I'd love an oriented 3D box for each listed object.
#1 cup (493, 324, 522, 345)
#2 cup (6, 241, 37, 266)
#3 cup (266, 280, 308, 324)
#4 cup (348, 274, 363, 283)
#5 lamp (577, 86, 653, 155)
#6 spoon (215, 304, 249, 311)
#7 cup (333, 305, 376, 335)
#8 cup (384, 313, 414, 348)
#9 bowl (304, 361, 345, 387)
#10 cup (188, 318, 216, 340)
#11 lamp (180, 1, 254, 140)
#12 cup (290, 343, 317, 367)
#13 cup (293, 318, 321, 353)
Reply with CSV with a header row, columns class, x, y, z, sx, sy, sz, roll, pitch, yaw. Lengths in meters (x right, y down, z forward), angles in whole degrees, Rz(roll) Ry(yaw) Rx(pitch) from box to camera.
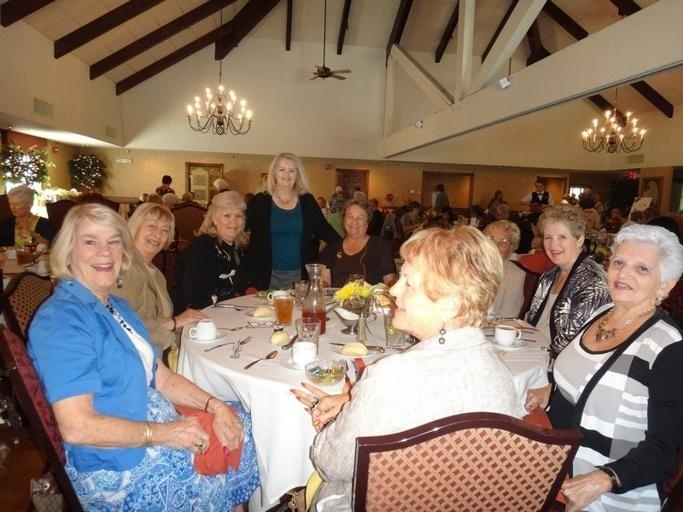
class,x,y,z,sx,sy,sz,roll,pitch,yaw
cup,0.793,0.370,2.209,0.083,0.078,0.106,-2,8,-42
cup,-2.739,-0.013,3.938,0.230,0.149,0.208,-1,5,-30
cup,-0.294,0.253,2.524,0.195,0.172,0.222,0,-1,-3
cup,0.081,0.128,2.609,0.053,0.056,0.054,1,1,0
lamp,6.881,-3.498,11.658,1.202,1.828,1.210,3,2,27
spoon,-0.640,0.299,2.680,0.182,0.033,0.062,10,4,-2
cup,0.066,0.328,2.362,0.201,0.118,0.113,4,-2,-14
cup,0.244,0.347,2.126,0.136,0.156,0.150,2,-7,-3
bowl,-0.062,0.454,1.797,0.159,0.079,0.116,1,8,-3
cup,-0.658,0.346,2.183,0.114,0.085,0.088,-1,3,-5
lamp,-2.504,-3.904,9.759,1.571,2.825,3.840,-2,9,-19
cup,-0.153,0.398,1.861,0.076,0.073,0.100,7,15,26
cup,-0.148,0.343,2.004,0.127,0.145,0.124,0,-2,0
